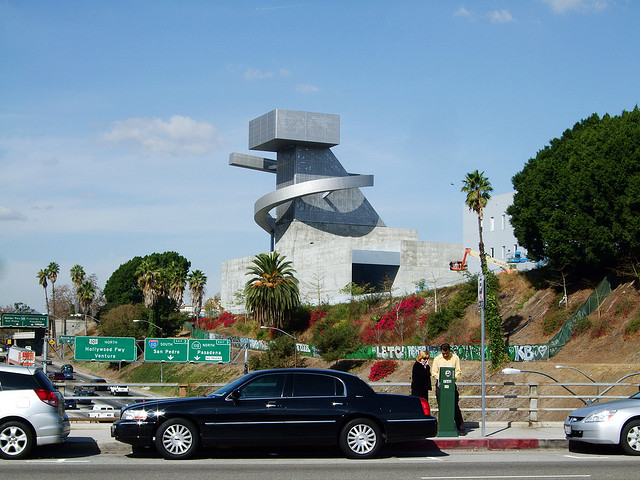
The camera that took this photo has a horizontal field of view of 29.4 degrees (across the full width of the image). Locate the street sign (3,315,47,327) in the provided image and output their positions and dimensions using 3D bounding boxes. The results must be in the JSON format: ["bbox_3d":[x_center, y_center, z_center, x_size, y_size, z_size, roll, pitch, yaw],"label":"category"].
[{"bbox_3d":[-16.000,4.407,66.239,2.527,0.732,0.569,-3,-5,20],"label":"street sign"}]

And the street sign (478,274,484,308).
[{"bbox_3d":[7.297,2.262,54.256,0.166,1.446,0.513,-1,-5,-12],"label":"street sign"}]
